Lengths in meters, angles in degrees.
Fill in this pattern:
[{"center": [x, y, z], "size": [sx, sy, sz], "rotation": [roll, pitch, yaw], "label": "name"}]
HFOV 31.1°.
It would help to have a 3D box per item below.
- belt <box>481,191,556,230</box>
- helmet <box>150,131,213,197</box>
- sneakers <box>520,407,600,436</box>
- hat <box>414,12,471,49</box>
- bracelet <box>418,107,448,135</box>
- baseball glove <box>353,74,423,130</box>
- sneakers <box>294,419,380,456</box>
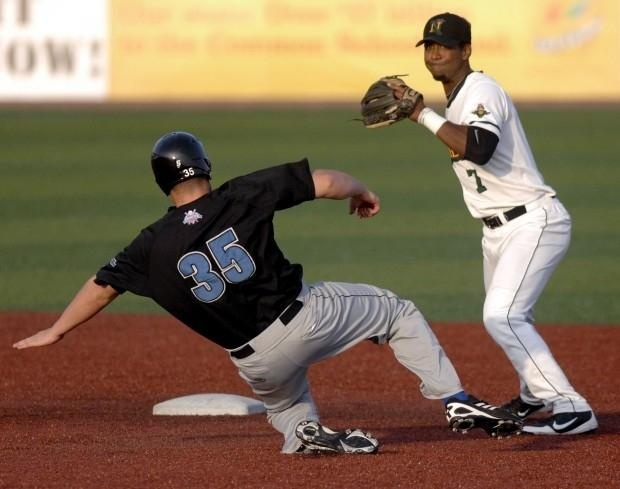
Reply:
[{"center": [1.457, -0.226, 7.864], "size": [0.357, 0.072, 0.301], "rotation": [-21, 1, -3], "label": "belt"}, {"center": [-0.956, -0.535, 7.421], "size": [0.496, 0.375, 0.360], "rotation": [-22, 12, -26], "label": "helmet"}, {"center": [1.763, 1.239, 7.823], "size": [0.676, 0.199, 0.206], "rotation": [-1, 2, 6], "label": "sneakers"}, {"center": [0.949, -1.554, 7.998], "size": [0.372, 0.179, 0.258], "rotation": [-5, 11, -35], "label": "hat"}, {"center": [0.884, -0.868, 7.779], "size": [0.189, 0.186, 0.270], "rotation": [-7, 16, -24], "label": "bracelet"}, {"center": [0.571, -0.974, 8.009], "size": [0.480, 0.310, 0.182], "rotation": [6, -20, 34], "label": "baseball glove"}, {"center": [0.191, 1.319, 7.522], "size": [0.618, 0.186, 0.215], "rotation": [-2, 16, 7], "label": "sneakers"}]
